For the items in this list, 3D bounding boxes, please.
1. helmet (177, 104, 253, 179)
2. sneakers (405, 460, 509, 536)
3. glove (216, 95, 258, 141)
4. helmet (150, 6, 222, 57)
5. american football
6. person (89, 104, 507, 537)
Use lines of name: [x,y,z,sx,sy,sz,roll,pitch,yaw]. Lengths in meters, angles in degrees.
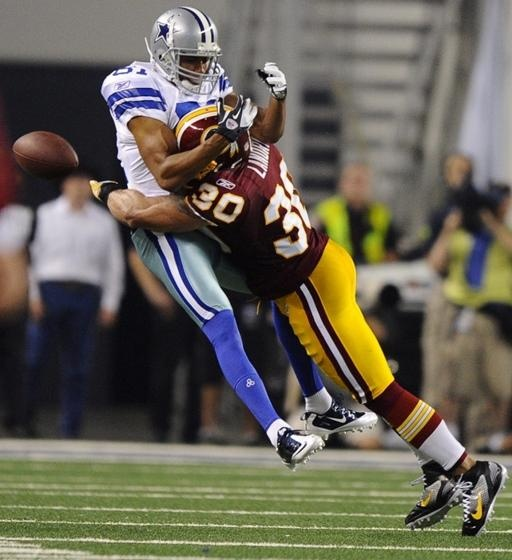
helmet: [-0.128,-0.384,2.783,0.170,0.116,0.159,-25,43,-14]
sneakers: [0.535,0.655,2.947,0.197,0.120,0.387,16,-30,-21]
glove: [-0.062,-0.451,2.771,0.106,0.120,0.209,-1,13,0]
helmet: [-0.199,-0.735,2.949,0.207,0.143,0.145,3,15,24]
american football: [-0.648,-0.391,3.144,0.202,0.108,0.133,20,38,7]
person: [0.149,0.148,2.943,1.134,1.101,0.262,4,16,21]
